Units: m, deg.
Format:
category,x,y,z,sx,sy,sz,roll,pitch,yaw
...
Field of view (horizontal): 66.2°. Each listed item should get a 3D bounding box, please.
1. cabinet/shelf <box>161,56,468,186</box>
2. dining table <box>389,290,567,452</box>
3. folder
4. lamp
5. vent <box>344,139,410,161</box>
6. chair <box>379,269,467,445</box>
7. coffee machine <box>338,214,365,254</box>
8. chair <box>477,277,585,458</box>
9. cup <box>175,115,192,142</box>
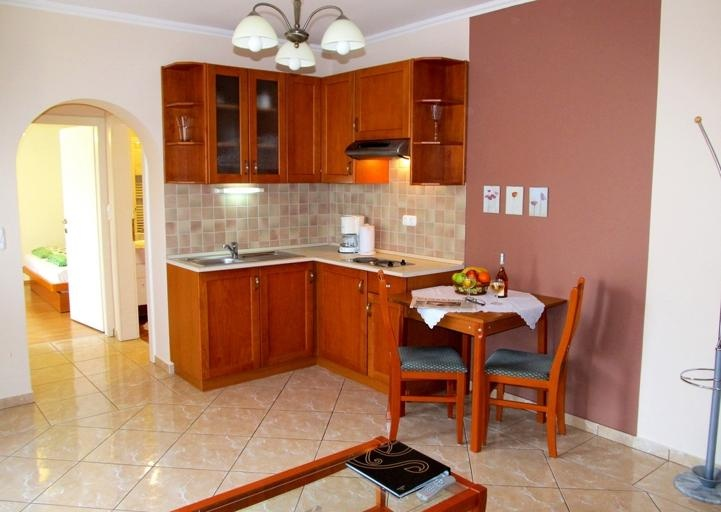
category,x,y,z,sx,sy,sz,roll,pitch,yaw
cabinet/shelf,-0.564,-1.257,5.163,2.011,0.875,1.502,6,8,41
dining table,0.903,0.639,4.599,1.185,1.135,1.239,-9,13,-40
folder,0.193,1.121,2.972,0.381,0.039,0.366,-6,19,-39
lamp,-0.524,-1.765,4.373,0.952,0.477,0.954,6,10,33
vent,0.145,-0.998,5.135,0.195,0.180,0.743,-11,17,-37
chair,0.503,0.822,4.404,0.670,1.096,0.588,0,-8,10
coffee machine,-0.119,-0.234,5.683,0.264,0.344,0.253,-2,7,-21
chair,1.295,0.820,4.225,0.731,1.152,0.662,5,6,36
cup,-1.655,-1.204,5.202,0.130,0.237,0.204,-5,14,-17
